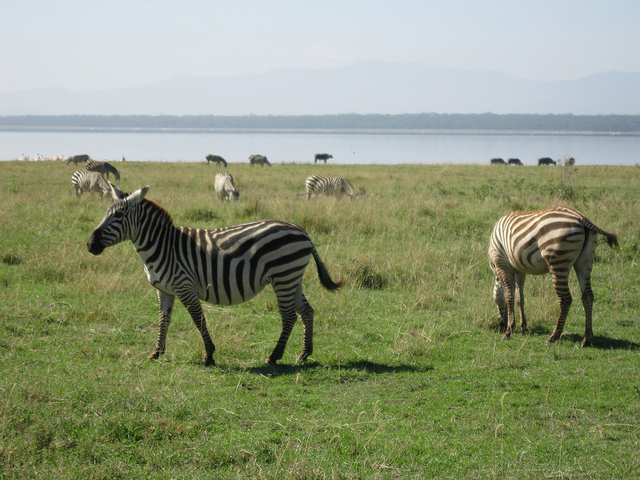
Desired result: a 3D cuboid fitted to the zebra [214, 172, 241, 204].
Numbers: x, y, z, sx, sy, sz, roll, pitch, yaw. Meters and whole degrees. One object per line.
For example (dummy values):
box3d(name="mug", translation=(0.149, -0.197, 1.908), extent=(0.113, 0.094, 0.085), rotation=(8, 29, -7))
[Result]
box3d(name="zebra", translation=(-2.921, -1.663, 27.443), extent=(0.440, 0.993, 1.952), rotation=(-5, 26, -19))

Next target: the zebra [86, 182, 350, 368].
box3d(name="zebra", translation=(-1.650, 0.491, 14.273), extent=(3.495, 2.827, 1.633), rotation=(1, 4, -5))

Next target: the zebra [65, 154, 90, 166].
box3d(name="zebra", translation=(-12.470, -4.312, 45.080), extent=(0.798, 0.598, 4.515), rotation=(0, 5, -11))

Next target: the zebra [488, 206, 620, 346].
box3d(name="zebra", translation=(3.918, 0.506, 15.100), extent=(1.852, 2.301, 1.602), rotation=(2, 4, 12))
